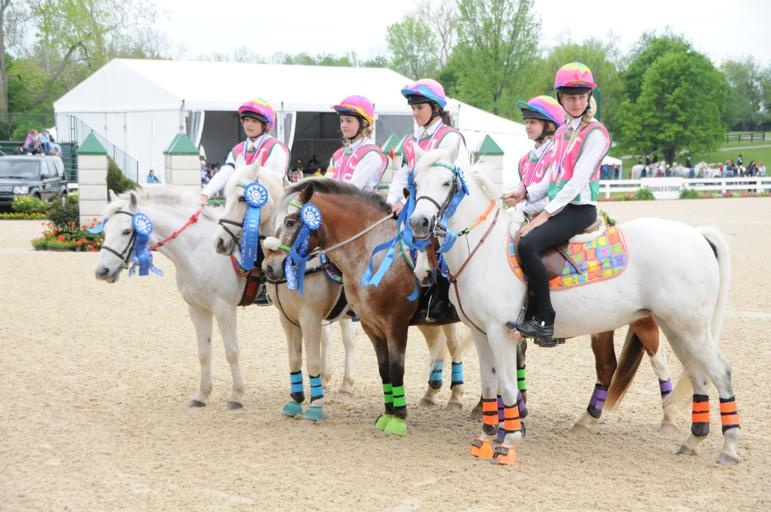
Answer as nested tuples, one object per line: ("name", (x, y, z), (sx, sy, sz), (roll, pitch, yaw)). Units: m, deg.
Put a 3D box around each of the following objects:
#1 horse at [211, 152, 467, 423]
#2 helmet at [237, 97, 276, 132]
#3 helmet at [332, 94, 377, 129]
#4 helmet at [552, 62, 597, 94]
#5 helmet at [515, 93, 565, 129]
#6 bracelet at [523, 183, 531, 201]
("horse", (-0.451, 0.675, 13.046), (4.281, 3.465, 1.103), (3, 3, -23))
("helmet", (-1.927, -2.133, 13.192), (0.560, 0.446, 0.317), (-3, 6, -25))
("helmet", (-0.420, -2.159, 12.893), (0.562, 0.293, 0.394), (14, -3, -21))
("helmet", (2.452, -2.357, 11.650), (0.362, 0.280, 0.493), (-1, 11, -5))
("helmet", (2.238, -2.116, 12.576), (0.635, 0.349, 0.427), (10, -7, -29))
("bracelet", (1.943, -0.856, 12.059), (0.055, 0.154, 0.115), (-2, 7, -8))
